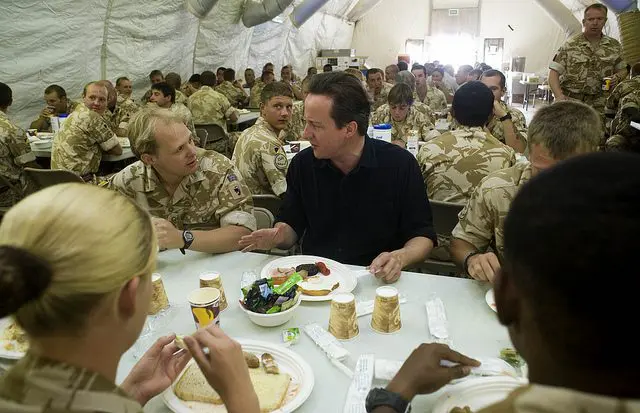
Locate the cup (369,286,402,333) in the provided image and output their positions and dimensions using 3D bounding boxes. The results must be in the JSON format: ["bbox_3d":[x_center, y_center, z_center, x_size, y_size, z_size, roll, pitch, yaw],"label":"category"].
[{"bbox_3d":[0.232,0.369,1.634,0.135,0.149,0.139,0,14,0],"label":"cup"}]

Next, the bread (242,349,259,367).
[{"bbox_3d":[-0.220,0.482,1.428,0.054,0.019,0.036,19,14,-23],"label":"bread"}]

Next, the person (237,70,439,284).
[{"bbox_3d":[0.187,-0.118,2.460,1.150,1.247,0.960,8,23,27],"label":"person"}]

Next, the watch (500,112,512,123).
[{"bbox_3d":[1.736,-0.839,4.158,0.090,0.093,0.096,14,43,42],"label":"watch"}]

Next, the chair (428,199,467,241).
[{"bbox_3d":[0.714,0.042,2.599,0.205,0.250,0.210,9,23,27],"label":"chair"}]

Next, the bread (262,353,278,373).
[{"bbox_3d":[-0.160,0.504,1.439,0.031,0.017,0.061,2,23,-10],"label":"bread"}]

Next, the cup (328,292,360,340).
[{"bbox_3d":[0.082,0.385,1.615,0.135,0.143,0.137,0,14,0],"label":"cup"}]

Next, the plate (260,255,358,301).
[{"bbox_3d":[-0.017,0.319,1.907,0.235,0.026,0.225,4,27,5],"label":"plate"}]

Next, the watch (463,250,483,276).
[{"bbox_3d":[0.680,0.252,2.018,0.096,0.093,0.026,-5,-6,1],"label":"watch"}]

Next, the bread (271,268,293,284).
[{"bbox_3d":[-0.156,0.276,1.828,0.053,0.020,0.053,-16,28,-15],"label":"bread"}]

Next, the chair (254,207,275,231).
[{"bbox_3d":[-0.322,0.062,2.559,0.118,0.107,0.125,0,11,5],"label":"chair"}]
